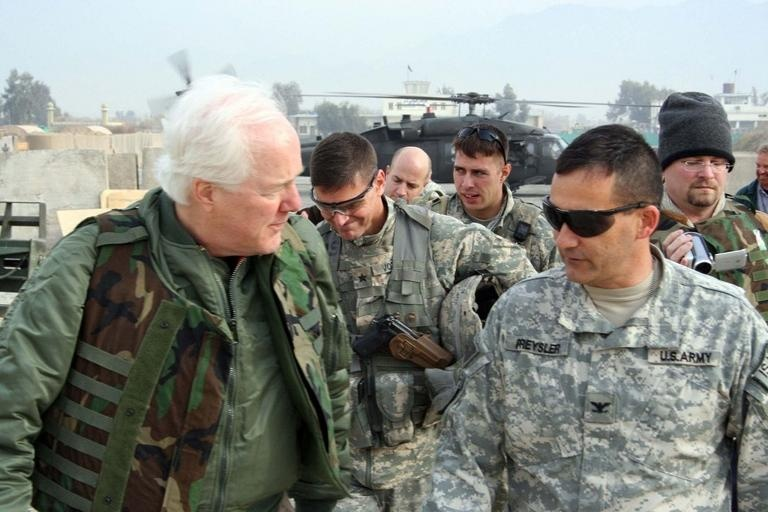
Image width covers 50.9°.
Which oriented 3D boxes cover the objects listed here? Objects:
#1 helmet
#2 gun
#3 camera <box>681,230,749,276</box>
[{"bbox_3d":[0.527,0.321,4.574,0.380,0.514,0.296,1,-1,-20],"label":"helmet"},{"bbox_3d":[0.122,0.477,4.602,0.475,0.293,0.110,35,16,14],"label":"gun"},{"bbox_3d":[1.640,0.012,4.026,0.288,0.247,0.229,-2,-6,3],"label":"camera"}]
